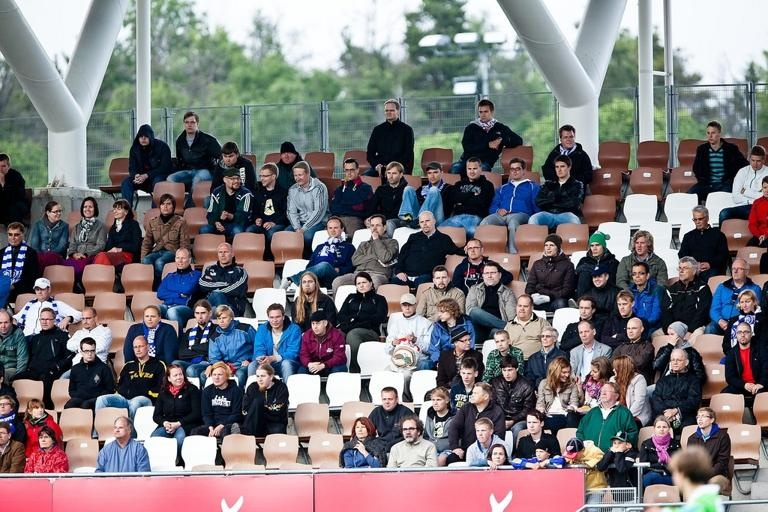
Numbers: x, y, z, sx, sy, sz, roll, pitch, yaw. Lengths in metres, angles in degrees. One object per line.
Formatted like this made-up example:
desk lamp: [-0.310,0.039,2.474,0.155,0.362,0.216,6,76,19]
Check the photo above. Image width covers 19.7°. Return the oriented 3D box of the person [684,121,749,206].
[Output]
person: [6.939,-1.966,46.196,1.004,1.770,0.712,2,-11,-2]
